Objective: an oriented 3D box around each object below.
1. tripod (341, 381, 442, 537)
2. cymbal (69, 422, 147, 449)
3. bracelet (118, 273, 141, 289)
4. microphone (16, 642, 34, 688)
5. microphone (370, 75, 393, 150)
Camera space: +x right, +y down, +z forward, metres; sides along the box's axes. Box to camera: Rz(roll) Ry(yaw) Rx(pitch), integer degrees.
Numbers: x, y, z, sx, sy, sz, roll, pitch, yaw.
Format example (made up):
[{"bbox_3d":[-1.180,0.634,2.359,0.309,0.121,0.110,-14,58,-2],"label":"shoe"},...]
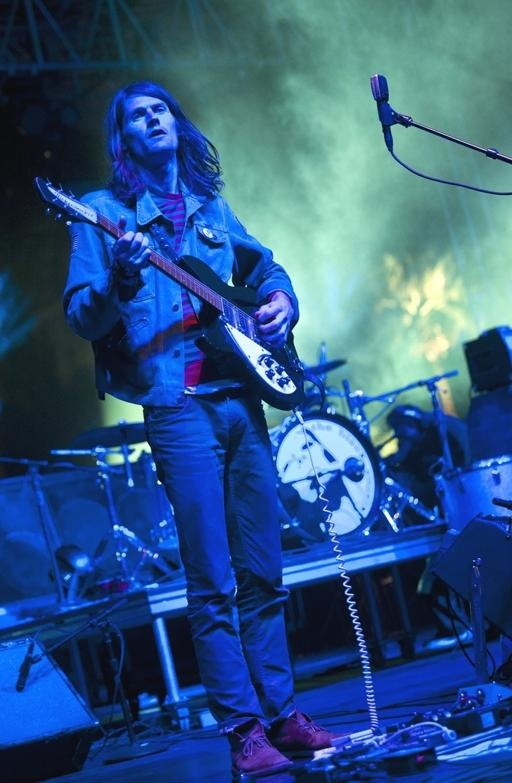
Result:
[{"bbox_3d":[0.563,0.369,5.067,0.162,0.660,0.702,-31,1,14],"label":"tripod"},{"bbox_3d":[-0.700,0.223,4.980,0.289,0.055,0.255,6,-34,-16],"label":"cymbal"},{"bbox_3d":[-0.352,-0.307,2.832,0.049,0.029,0.048,-10,-9,38],"label":"bracelet"},{"bbox_3d":[-0.826,0.981,3.626,0.042,0.157,0.047,25,-7,-5],"label":"microphone"},{"bbox_3d":[0.474,-0.991,3.573,0.086,0.278,0.063,-12,13,-5],"label":"microphone"}]
